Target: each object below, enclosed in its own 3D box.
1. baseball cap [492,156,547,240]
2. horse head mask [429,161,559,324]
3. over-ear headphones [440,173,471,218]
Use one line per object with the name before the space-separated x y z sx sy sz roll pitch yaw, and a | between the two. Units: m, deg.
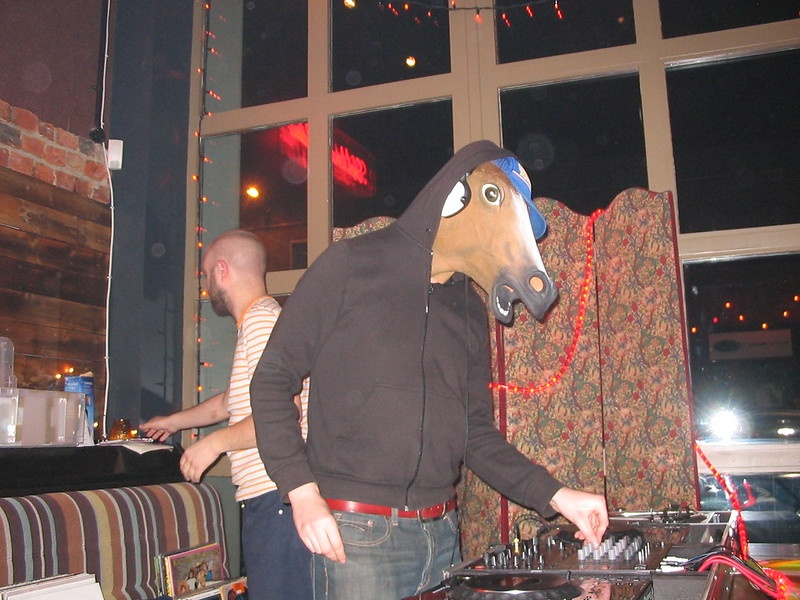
baseball cap | 0.431 -0.379 2.835 0.084 0.293 0.177 -27 0 2
horse head mask | 0.297 -0.241 2.829 0.443 0.820 0.253 3 -32 14
over-ear headphones | 0.185 -0.339 2.693 0.096 0.138 0.036 31 4 16
